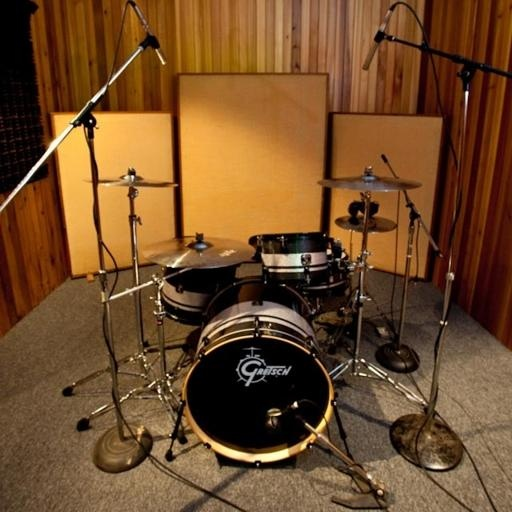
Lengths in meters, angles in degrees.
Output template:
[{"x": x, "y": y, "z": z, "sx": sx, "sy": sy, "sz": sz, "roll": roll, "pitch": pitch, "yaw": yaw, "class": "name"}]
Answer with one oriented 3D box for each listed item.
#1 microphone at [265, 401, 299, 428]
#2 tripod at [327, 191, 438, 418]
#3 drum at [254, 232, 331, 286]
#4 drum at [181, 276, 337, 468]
[{"x": 0.113, "y": 0.669, "z": 2.121, "sx": 0.146, "sy": 0.109, "sz": 0.049, "roll": -5, "pitch": 25, "yaw": -15, "class": "microphone"}, {"x": 0.652, "y": 0.125, "z": 2.911, "sx": 0.596, "sy": 1.169, "sz": 1.010, "roll": 3, "pitch": 24, "yaw": 2, "class": "tripod"}, {"x": 0.237, "y": 0.020, "z": 3.159, "sx": 0.443, "sy": 0.282, "sz": 0.492, "roll": -4, "pitch": 1, "yaw": 32, "class": "drum"}, {"x": 0.038, "y": 0.524, "z": 2.347, "sx": 0.656, "sy": 0.616, "sz": 0.592, "roll": 5, "pitch": 24, "yaw": 7, "class": "drum"}]
